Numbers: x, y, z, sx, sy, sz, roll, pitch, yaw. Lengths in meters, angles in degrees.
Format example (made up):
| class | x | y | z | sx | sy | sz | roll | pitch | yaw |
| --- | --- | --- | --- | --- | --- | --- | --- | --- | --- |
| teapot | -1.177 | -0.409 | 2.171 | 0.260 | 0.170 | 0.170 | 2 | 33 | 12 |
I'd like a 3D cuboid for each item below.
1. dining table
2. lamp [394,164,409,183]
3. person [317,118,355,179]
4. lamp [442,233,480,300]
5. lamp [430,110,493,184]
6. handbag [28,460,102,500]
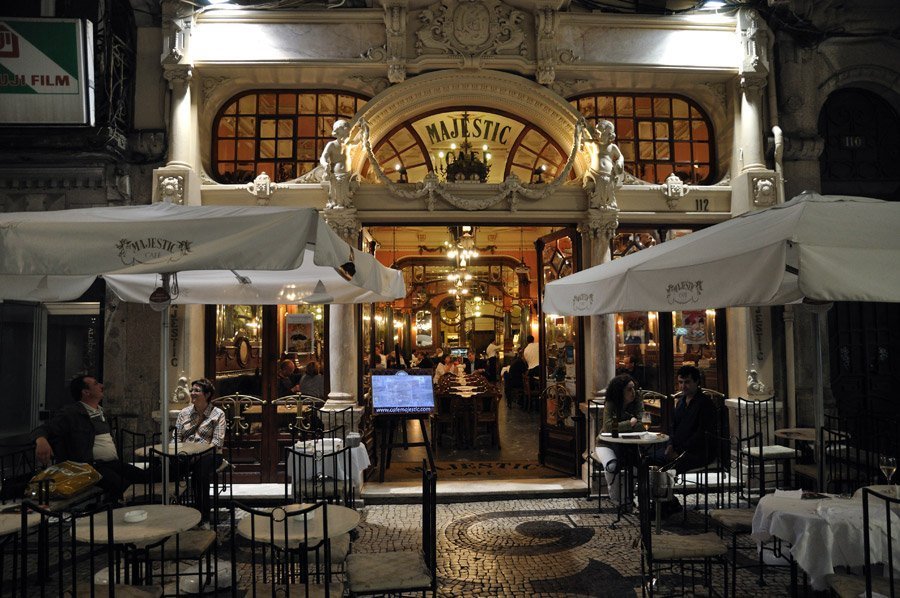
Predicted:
| class | x | y | z | sx | sy | sz | roll | pitch | yaw |
| --- | --- | --- | --- | --- | --- | --- | --- | --- | --- |
| dining table | 0.353 | 2.521 | 20.817 | 1.416 | 1.341 | 2.989 | 0 | -3 | 0 |
| lamp | -0.895 | -2.344 | 17.775 | 0.218 | 0.371 | 0.138 | 1 | -3 | -8 |
| person | -2.056 | -2.661 | 17.064 | 0.524 | 1.106 | 0.373 | 1 | -3 | -9 |
| lamp | 0.333 | -1.042 | 29.183 | 1.344 | 2.829 | 1.263 | 3 | -16 | 2 |
| lamp | 0.320 | -2.872 | 18.377 | 1.375 | 1.791 | 1.335 | 1 | 1 | 2 |
| handbag | -5.456 | 2.503 | 13.432 | 0.867 | 0.390 | 1.067 | -3 | 6 | 10 |
